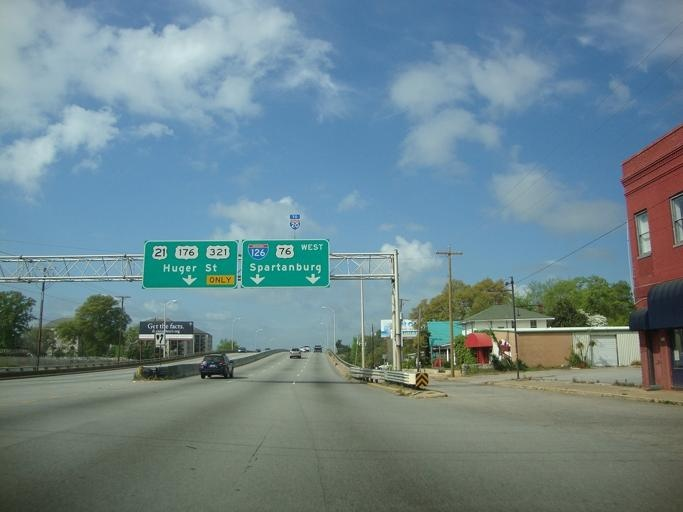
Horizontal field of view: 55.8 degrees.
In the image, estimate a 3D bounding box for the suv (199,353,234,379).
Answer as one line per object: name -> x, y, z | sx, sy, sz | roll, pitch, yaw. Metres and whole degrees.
suv -> -8.540, 7.666, 45.333 | 1.222, 1.151, 2.815 | 0, -6, 2
